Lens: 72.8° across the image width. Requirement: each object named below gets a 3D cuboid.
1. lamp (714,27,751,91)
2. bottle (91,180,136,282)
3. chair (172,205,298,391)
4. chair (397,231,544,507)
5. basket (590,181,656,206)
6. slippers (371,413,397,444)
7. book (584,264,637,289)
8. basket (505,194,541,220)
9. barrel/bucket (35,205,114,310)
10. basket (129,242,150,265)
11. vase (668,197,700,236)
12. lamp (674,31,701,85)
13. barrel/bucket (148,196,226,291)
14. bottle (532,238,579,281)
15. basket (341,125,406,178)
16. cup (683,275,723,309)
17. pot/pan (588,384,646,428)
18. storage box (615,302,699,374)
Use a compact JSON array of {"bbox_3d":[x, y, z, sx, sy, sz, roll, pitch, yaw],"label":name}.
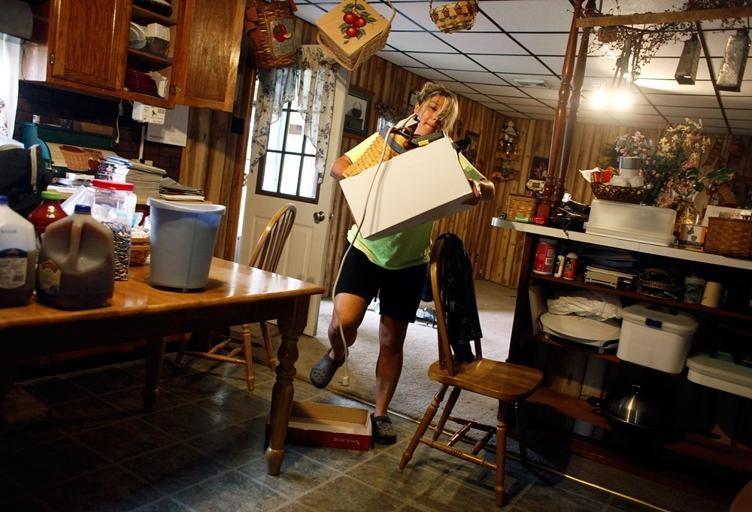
[{"bbox_3d":[2.523,-1.388,3.593,0.152,0.462,0.542,15,14,28],"label":"lamp"},{"bbox_3d":[-1.132,-0.123,2.103,0.216,0.362,0.203,3,-2,0],"label":"bottle"},{"bbox_3d":[-0.987,0.214,3.647,0.839,1.282,0.770,-3,-5,26],"label":"chair"},{"bbox_3d":[0.572,0.567,2.804,0.654,1.301,0.636,12,13,20],"label":"chair"},{"bbox_3d":[1.465,-0.391,3.096,0.308,0.125,0.132,11,12,13],"label":"basket"},{"bbox_3d":[0.043,1.024,3.000,0.095,0.067,0.189,-1,4,-20],"label":"slippers"},{"bbox_3d":[1.408,0.130,3.088,0.268,0.115,0.078,14,13,25],"label":"book"},{"bbox_3d":[0.960,-0.323,3.398,0.235,0.222,0.166,6,8,21],"label":"basket"},{"bbox_3d":[-1.060,-0.005,1.826,0.260,0.352,0.227,7,9,-20],"label":"barrel/bucket"},{"bbox_3d":[-1.056,-0.012,2.286,0.097,0.063,0.095,-2,6,-25],"label":"basket"},{"bbox_3d":[2.110,-0.282,3.565,0.273,0.210,0.306,4,5,28],"label":"vase"},{"bbox_3d":[2.363,-1.514,3.850,0.137,0.400,0.357,14,13,26],"label":"lamp"},{"bbox_3d":[-0.803,-0.051,2.217,0.359,0.401,0.360,9,-1,0],"label":"barrel/bucket"},{"bbox_3d":[1.119,0.015,3.211,0.320,0.301,0.186,13,2,15],"label":"bottle"},{"bbox_3d":[-0.021,-0.470,2.346,0.279,0.088,0.211,-26,12,3],"label":"basket"},{"bbox_3d":[1.836,0.206,2.902,0.185,0.133,0.164,9,-3,-24],"label":"cup"},{"bbox_3d":[1.456,0.885,3.034,0.245,0.122,0.203,1,-7,13],"label":"pot/pan"},{"bbox_3d":[1.575,0.464,2.953,0.392,0.285,0.397,11,2,39],"label":"storage box"}]
